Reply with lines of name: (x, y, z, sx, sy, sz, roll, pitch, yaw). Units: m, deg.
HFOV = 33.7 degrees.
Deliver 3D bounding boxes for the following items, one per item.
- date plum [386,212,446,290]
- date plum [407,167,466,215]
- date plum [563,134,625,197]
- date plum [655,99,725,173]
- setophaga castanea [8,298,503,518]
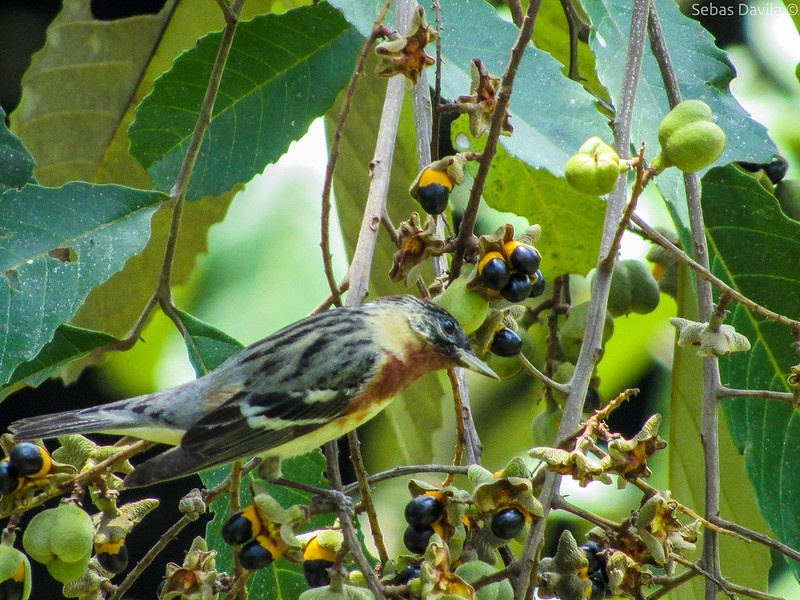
date plum: (0.040, -0.136, 3.654, 0.169, 0.193, 0.079, -2, 1, 32)
date plum: (0.087, -0.283, 3.631, 0.125, 0.163, 0.122, 5, -1, -28)
date plum: (0.502, -0.338, 3.407, 0.130, 0.123, 0.129, -25, 37, -38)
date plum: (0.738, -0.411, 3.427, 0.098, 0.190, 0.148, -2, 59, -47)
setophaga castanea: (-0.419, 0.283, 3.893, 1.343, 0.622, 0.404, 2, 8, 1)
